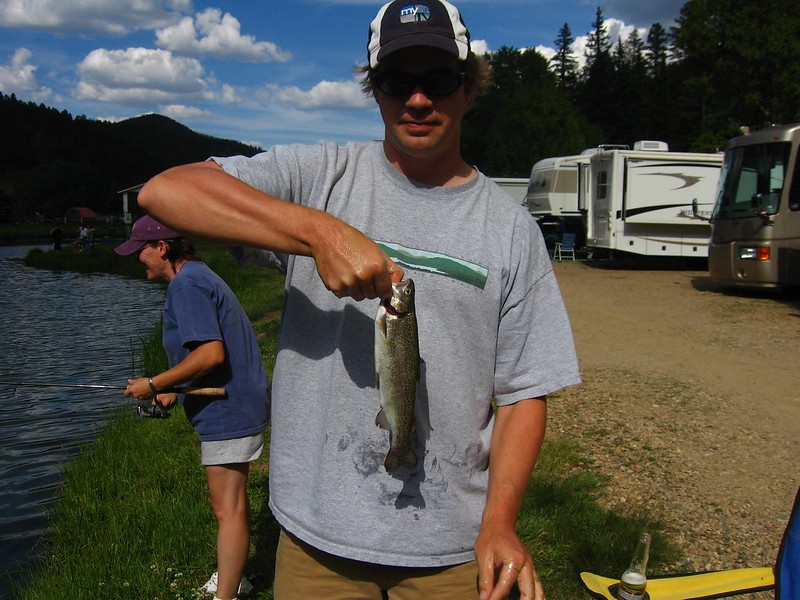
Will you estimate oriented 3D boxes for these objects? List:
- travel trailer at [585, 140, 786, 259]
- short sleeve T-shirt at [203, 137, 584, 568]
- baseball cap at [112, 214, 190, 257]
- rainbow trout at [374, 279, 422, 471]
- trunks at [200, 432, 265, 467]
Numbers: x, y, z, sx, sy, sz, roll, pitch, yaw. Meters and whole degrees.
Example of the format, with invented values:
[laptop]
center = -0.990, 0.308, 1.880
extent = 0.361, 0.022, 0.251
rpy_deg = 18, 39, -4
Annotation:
[travel trailer]
center = 9.623, -3.635, 21.686
extent = 5.465, 3.657, 3.553
rpy_deg = 0, 9, -1
[short sleeve T-shirt]
center = -0.011, 0.143, 2.824
extent = 1.683, 1.623, 0.875
rpy_deg = 6, 11, 6
[baseball cap]
center = -2.120, -0.564, 5.086
extent = 0.605, 0.314, 0.385
rpy_deg = -10, 2, -9
[rainbow trout]
center = -0.012, 0.306, 2.403
extent = 0.171, 0.777, 0.081
rpy_deg = 0, 8, -1
[trunks]
center = -1.178, 1.049, 4.195
extent = 0.303, 0.130, 0.242
rpy_deg = -3, 1, -37
